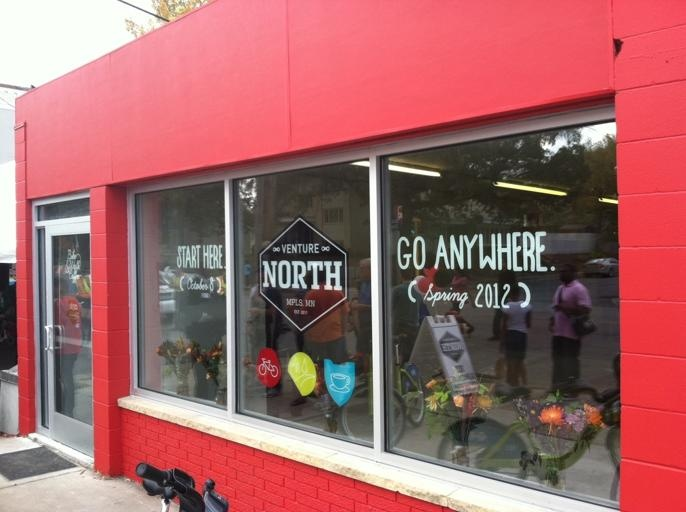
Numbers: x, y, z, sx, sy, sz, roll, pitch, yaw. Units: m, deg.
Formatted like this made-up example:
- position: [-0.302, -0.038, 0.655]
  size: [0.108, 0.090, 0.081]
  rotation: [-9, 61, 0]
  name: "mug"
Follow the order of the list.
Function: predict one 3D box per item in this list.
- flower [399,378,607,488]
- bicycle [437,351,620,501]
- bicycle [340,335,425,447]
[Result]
- position: [1.101, 1.121, 3.770]
  size: [1.131, 0.583, 0.444]
  rotation: [-1, -9, 30]
  name: "flower"
- position: [1.224, 1.132, 3.900]
  size: [1.060, 0.649, 0.534]
  rotation: [3, -6, 30]
  name: "bicycle"
- position: [0.231, 0.993, 4.167]
  size: [0.403, 0.552, 0.823]
  rotation: [-20, -17, 40]
  name: "bicycle"
